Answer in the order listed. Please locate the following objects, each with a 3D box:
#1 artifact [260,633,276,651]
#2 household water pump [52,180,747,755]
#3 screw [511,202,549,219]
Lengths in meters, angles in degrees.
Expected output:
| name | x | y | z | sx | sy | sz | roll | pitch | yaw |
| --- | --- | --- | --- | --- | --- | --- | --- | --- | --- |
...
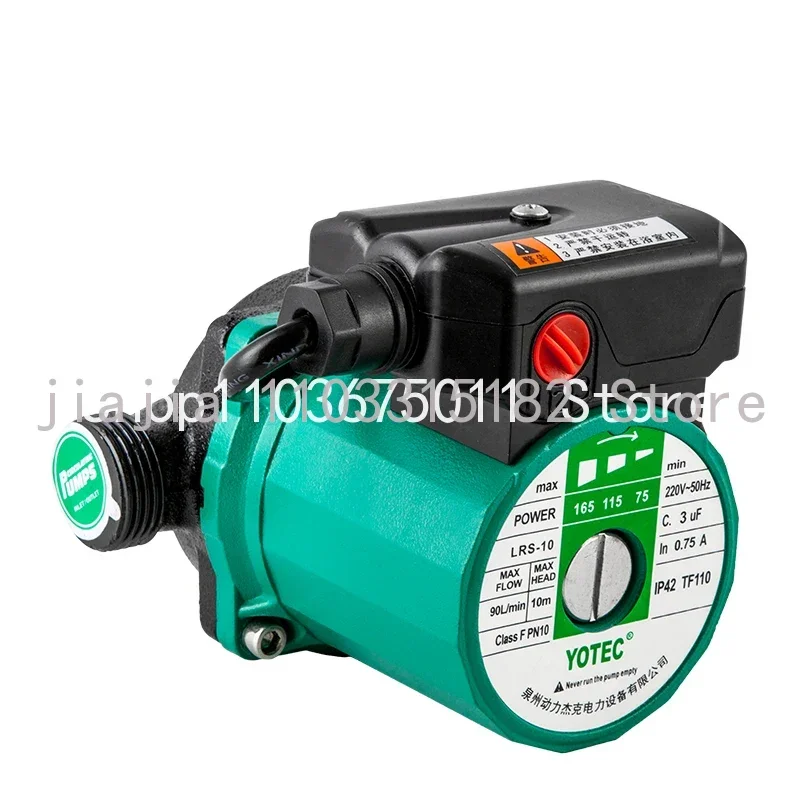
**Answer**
| name | x | y | z | sx | sy | sz | roll | pitch | yaw |
| --- | --- | --- | --- | --- | --- | --- | --- | --- | --- |
| artifact | -0.256 | 0.465 | 1.837 | 0.044 | 0.012 | 0.034 | 0 | -82 | -28 |
| household water pump | -0.006 | 0.120 | 1.852 | 1.068 | 1.046 | 0.708 | 4 | -89 | -24 |
| screw | 0.208 | -0.300 | 1.516 | 0.049 | 0.042 | 0.014 | 2 | -68 | 2 |
